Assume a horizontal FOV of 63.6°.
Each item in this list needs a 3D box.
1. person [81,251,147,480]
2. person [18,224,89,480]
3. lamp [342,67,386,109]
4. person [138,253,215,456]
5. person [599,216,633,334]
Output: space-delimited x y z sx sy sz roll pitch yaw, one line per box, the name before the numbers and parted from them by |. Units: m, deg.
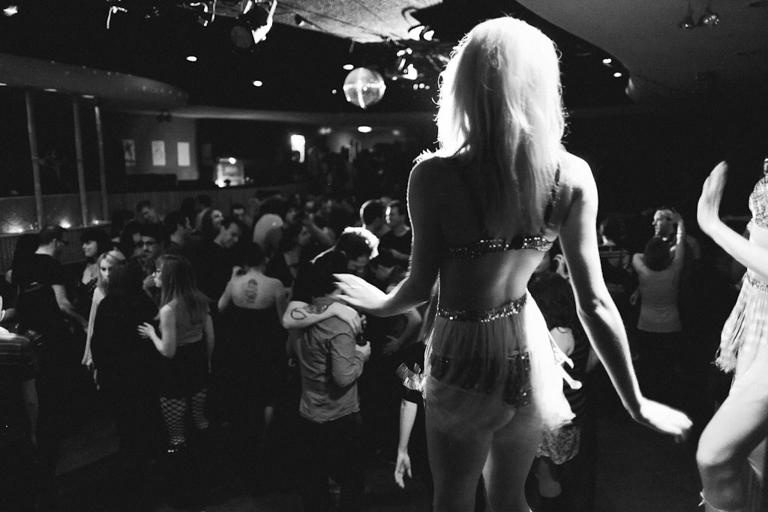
person | -1.911 0.702 4.363 0.470 1.562 0.380 -4 27 -37
person | -2.204 0.591 4.089 0.396 1.556 0.218 -7 10 -29
lamp | -0.169 -1.256 4.682 0.380 0.307 0.404 -3 14 0
person | -1.421 0.661 4.220 0.491 1.310 0.193 -5 9 -19
person | 1.791 0.107 4.738 0.176 0.720 0.708 4 4 10
